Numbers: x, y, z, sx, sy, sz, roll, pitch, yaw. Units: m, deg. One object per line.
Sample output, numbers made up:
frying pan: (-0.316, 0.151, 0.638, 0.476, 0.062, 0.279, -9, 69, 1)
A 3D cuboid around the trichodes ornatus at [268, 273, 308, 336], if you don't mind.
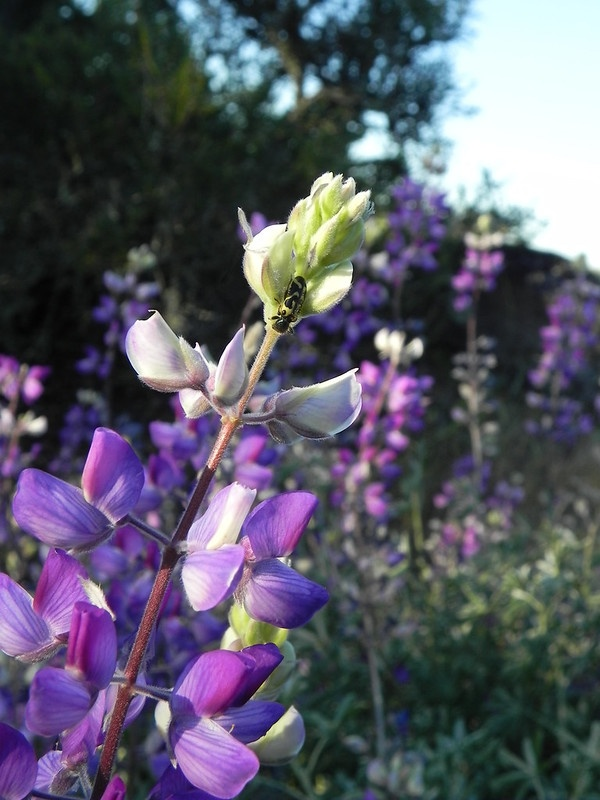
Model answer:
trichodes ornatus: (-0.008, -0.077, 0.693, 0.018, 0.047, 0.027, 21, 16, 4)
